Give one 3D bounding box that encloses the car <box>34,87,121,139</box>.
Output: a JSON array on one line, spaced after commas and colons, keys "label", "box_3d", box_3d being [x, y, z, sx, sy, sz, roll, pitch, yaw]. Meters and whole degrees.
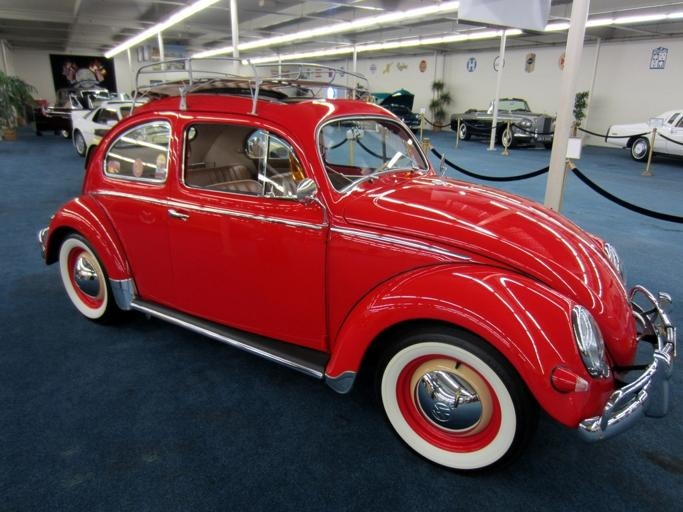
[{"label": "car", "box_3d": [-11.537, -6.397, 16.901, 3.767, 1.595, 2.250, -7, 22, 26]}]
